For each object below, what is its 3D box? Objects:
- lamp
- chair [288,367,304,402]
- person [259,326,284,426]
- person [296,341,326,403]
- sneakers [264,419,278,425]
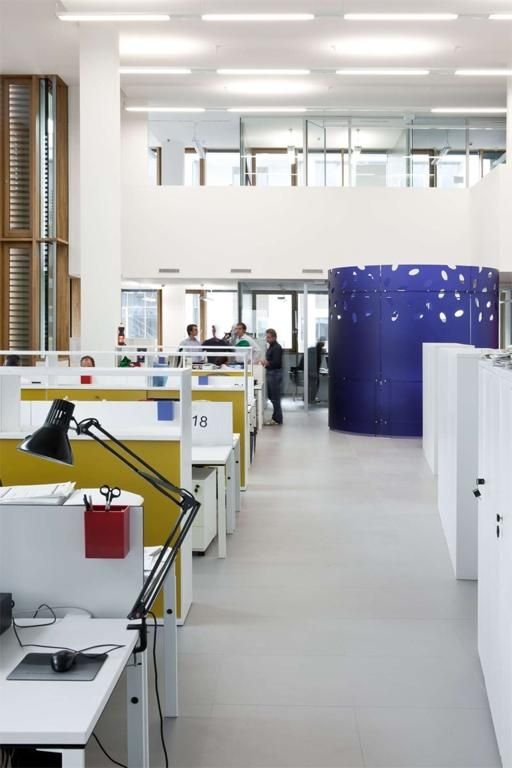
[{"bbox_3d":[-0.352,0.363,1.947,0.398,0.816,0.185,3,32,-4],"label":"lamp"},{"bbox_3d":[0.619,0.020,11.862,0.307,0.726,0.363,-1,1,-4],"label":"chair"},{"bbox_3d":[0.228,-0.076,10.353,0.255,1.277,0.766,0,2,1],"label":"person"},{"bbox_3d":[0.896,-0.166,11.657,0.258,0.964,0.247,0,2,4],"label":"person"},{"bbox_3d":[0.205,0.518,10.526,0.168,0.092,0.074,2,6,-8],"label":"sneakers"}]
